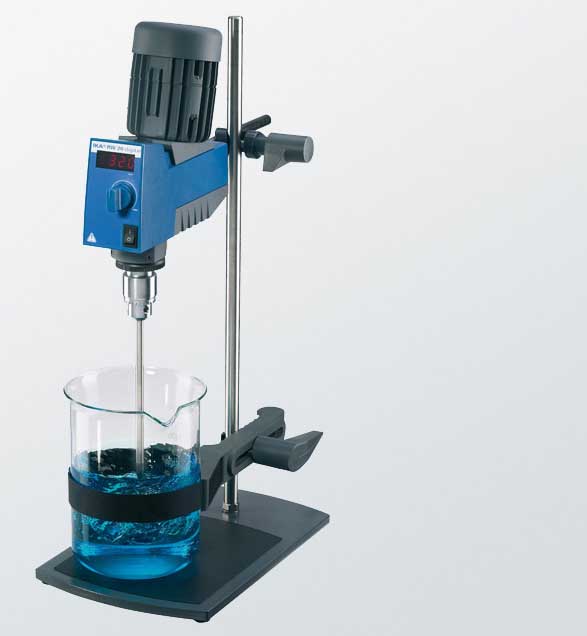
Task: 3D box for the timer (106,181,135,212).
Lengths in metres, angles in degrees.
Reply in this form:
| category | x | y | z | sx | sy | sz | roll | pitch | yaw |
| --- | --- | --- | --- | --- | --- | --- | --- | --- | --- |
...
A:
| category | x | y | z | sx | sy | sz | roll | pitch | yaw |
| --- | --- | --- | --- | --- | --- | --- | --- | --- | --- |
| timer | -0.304 | -0.215 | 1.562 | 0.048 | 0.058 | 0.035 | 5 | -10 | -17 |

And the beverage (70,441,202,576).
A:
| category | x | y | z | sx | sy | sz | roll | pitch | yaw |
| --- | --- | --- | --- | --- | --- | --- | --- | --- | --- |
| beverage | -0.283 | 0.363 | 1.740 | 0.288 | 0.222 | 0.263 | 1 | -1 | -2 |
